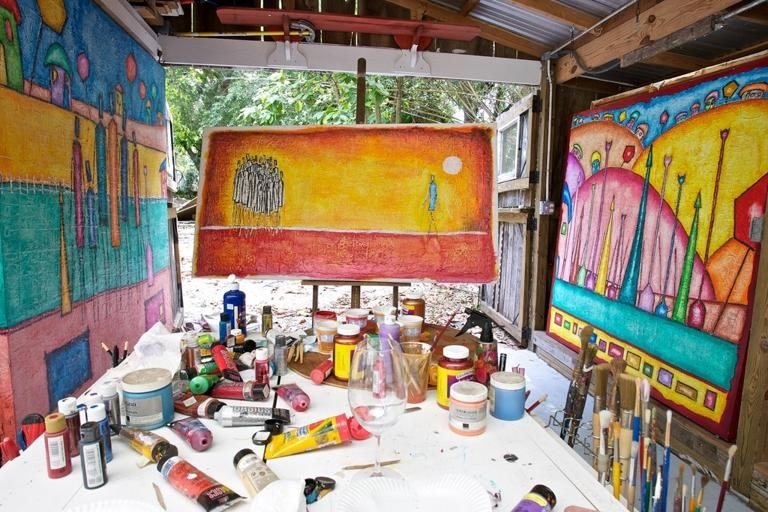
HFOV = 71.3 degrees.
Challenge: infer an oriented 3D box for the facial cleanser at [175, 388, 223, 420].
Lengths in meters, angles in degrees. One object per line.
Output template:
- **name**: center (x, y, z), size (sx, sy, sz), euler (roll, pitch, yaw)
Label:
- **facial cleanser**: center (-0.902, 0.720, 2.595), size (0.216, 0.071, 0.108), euler (12, 27, 18)

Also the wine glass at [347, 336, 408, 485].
- **wine glass**: center (-0.033, 0.711, 2.411), size (0.263, 0.596, 0.244), euler (0, 1, -8)

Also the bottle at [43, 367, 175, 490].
- **bottle**: center (-1.199, 0.706, 2.395), size (0.424, 0.455, 0.421), euler (3, 5, -15)

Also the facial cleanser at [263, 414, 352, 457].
- **facial cleanser**: center (-0.359, 0.828, 2.462), size (0.382, 0.104, 0.195), euler (-14, 9, -7)

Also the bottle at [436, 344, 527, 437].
- **bottle**: center (0.424, 0.580, 2.651), size (0.404, 0.419, 0.340), euler (-4, 8, -33)
